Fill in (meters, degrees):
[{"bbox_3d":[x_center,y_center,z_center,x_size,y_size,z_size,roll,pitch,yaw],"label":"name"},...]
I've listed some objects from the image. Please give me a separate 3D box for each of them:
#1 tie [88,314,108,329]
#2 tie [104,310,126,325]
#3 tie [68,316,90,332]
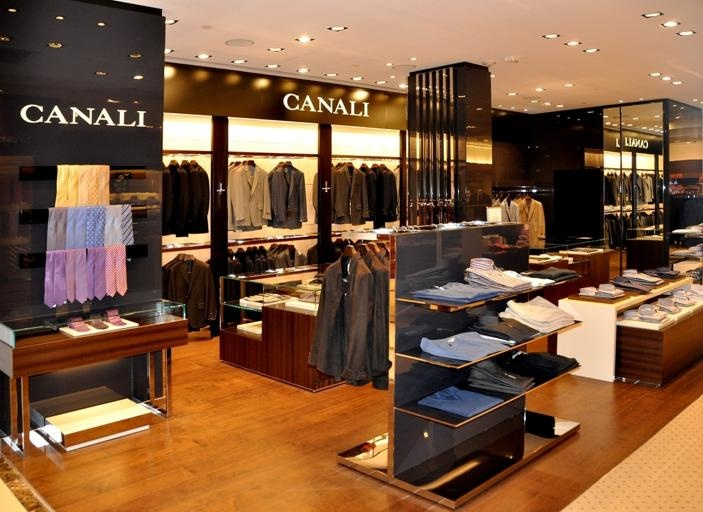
[{"bbox_3d":[-1.960,0.511,4.002,0.122,0.041,0.085,10,11,42],"label":"tie"},{"bbox_3d":[-1.877,0.483,4.090,0.094,0.056,0.161,-5,14,-42],"label":"tie"},{"bbox_3d":[-2.069,0.511,3.921,0.134,0.046,0.097,10,11,42],"label":"tie"}]
